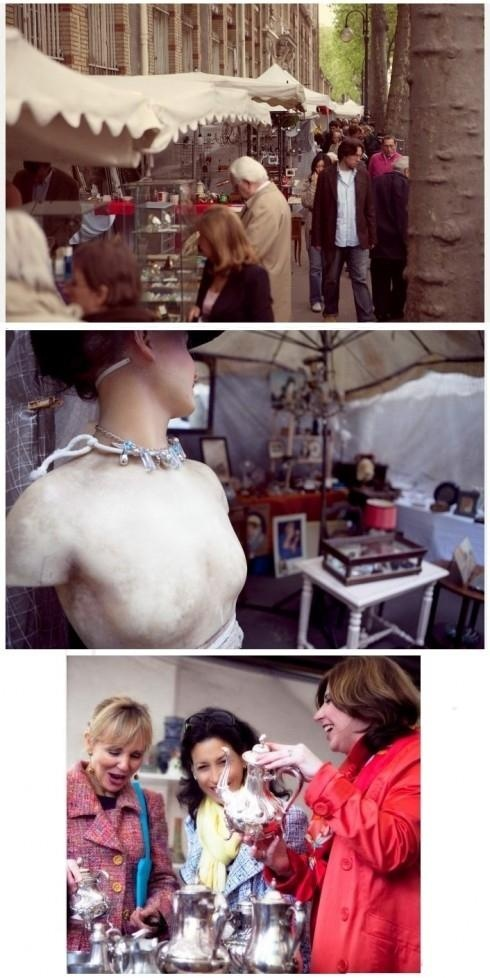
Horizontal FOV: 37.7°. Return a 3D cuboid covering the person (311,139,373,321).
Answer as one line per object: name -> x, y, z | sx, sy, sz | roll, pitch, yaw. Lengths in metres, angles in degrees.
person -> 0.455, -1.139, 3.134 | 0.226, 0.797, 0.590 | 0, 7, -7

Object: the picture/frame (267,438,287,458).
picture/frame -> 0.096, -0.121, 2.128 | 0.046, 0.053, 0.022 | 2, -3, -12

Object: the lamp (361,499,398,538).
lamp -> 0.409, 0.081, 2.148 | 0.085, 0.103, 0.093 | 2, 11, 12

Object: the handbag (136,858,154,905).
handbag -> -0.283, 1.093, 1.998 | 0.045, 0.126, 0.027 | 0, 7, -10

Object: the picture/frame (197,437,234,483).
picture/frame -> -0.091, -0.093, 2.104 | 0.090, 0.186, 0.017 | -8, 15, -17

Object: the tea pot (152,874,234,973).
tea pot -> -0.105, 1.105, 1.834 | 0.155, 0.246, 0.221 | 8, -20, -22

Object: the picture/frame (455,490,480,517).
picture/frame -> 0.654, 0.037, 2.105 | 0.054, 0.080, 0.008 | 11, 1, 4

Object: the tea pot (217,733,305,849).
tea pot -> 0.023, 0.790, 1.828 | 0.177, 0.233, 0.254 | 1, 7, -3
